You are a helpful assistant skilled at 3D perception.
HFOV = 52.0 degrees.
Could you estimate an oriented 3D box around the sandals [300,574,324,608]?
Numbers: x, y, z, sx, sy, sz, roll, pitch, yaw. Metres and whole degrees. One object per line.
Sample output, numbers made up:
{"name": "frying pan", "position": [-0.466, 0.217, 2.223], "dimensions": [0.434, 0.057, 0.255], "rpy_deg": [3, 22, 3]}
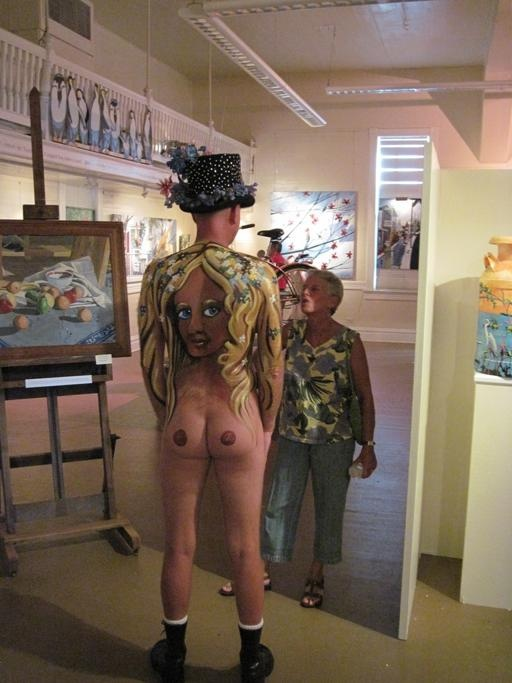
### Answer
{"name": "sandals", "position": [0.212, 0.969, 2.024], "dimensions": [0.053, 0.059, 0.159], "rpy_deg": [-1, -9, 10]}

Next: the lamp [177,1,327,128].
{"name": "lamp", "position": [0.044, -3.600, 6.731], "dimensions": [0.577, 0.714, 4.429], "rpy_deg": [5, 10, 17]}

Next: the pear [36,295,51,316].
{"name": "pear", "position": [-0.930, -0.163, 2.319], "dimensions": [0.058, 0.078, 0.023], "rpy_deg": [-2, 10, -21]}

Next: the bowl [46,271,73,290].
{"name": "bowl", "position": [-0.872, -0.268, 2.343], "dimensions": [0.086, 0.051, 0.086], "rpy_deg": [3, 2, 0]}

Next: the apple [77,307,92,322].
{"name": "apple", "position": [-0.761, -0.123, 2.347], "dimensions": [0.059, 0.054, 0.039], "rpy_deg": [-4, -4, -31]}

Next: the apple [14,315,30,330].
{"name": "apple", "position": [-1.015, -0.084, 2.284], "dimensions": [0.065, 0.070, 0.063], "rpy_deg": [0, -17, -24]}
